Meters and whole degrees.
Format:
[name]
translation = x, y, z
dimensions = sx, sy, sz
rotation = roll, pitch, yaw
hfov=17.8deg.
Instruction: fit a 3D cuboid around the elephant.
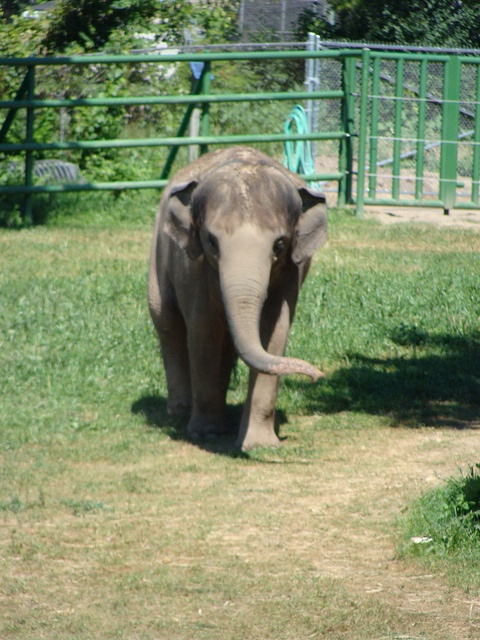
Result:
[elephant]
translation = -0.031, -0.112, 9.573
dimensions = 0.877, 1.902, 2.137
rotation = 0, 8, -17
